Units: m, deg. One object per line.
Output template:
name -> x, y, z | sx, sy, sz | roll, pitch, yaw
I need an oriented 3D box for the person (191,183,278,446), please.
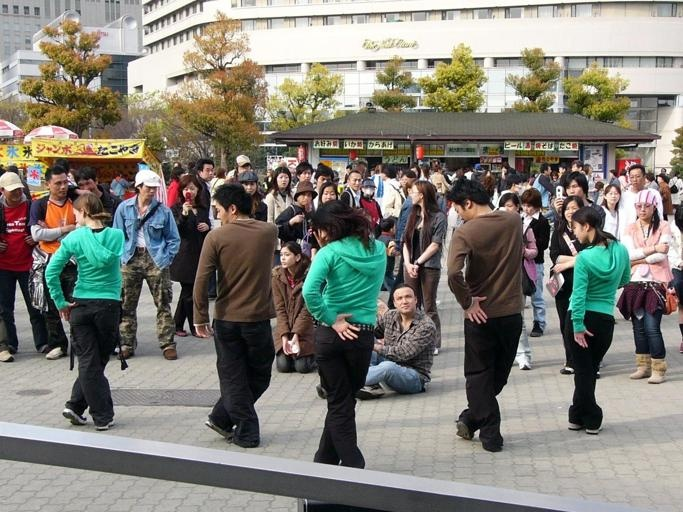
person -> -0.925, 0.516, 6.816 | 0.717, 2.299, 0.428 | -1, 6, -5

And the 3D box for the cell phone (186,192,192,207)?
cell phone -> -2.162, -0.830, 10.979 | 0.090, 0.171, 0.042 | 10, 29, 8

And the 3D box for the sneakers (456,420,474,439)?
sneakers -> 1.096, 1.572, 6.962 | 0.109, 0.211, 0.090 | -7, 32, 45

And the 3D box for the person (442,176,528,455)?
person -> 1.215, 0.652, 6.708 | 0.689, 2.080, 0.386 | -1, 6, -9

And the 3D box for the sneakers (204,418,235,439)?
sneakers -> -1.072, 1.534, 6.924 | 0.105, 0.249, 0.086 | -39, 31, 11

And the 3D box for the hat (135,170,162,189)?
hat -> -2.424, -0.963, 9.727 | 0.306, 0.168, 0.235 | -1, 1, 22

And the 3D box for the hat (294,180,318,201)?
hat -> -0.516, -0.928, 10.977 | 0.299, 0.265, 0.436 | 0, 7, -1

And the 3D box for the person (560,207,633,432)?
person -> 2.357, 0.606, 7.210 | 0.511, 2.070, 0.688 | 3, 7, 26

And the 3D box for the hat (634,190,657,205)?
hat -> 3.562, -0.684, 8.976 | 0.325, 0.173, 0.173 | -4, 8, -29

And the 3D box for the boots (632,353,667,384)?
boots -> 3.522, 1.282, 8.859 | 0.268, 0.294, 0.374 | 12, 16, 43

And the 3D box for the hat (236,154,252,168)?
hat -> -1.535, -1.523, 12.400 | 0.186, 0.169, 0.277 | -3, -6, -20

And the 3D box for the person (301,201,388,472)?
person -> 0.028, 0.623, 5.954 | 0.586, 2.078, 0.613 | 0, 6, 4

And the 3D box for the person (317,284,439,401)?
person -> 0.610, 0.930, 9.016 | 1.393, 1.438, 0.932 | 4, 3, -36

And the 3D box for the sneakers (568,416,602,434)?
sneakers -> 2.277, 1.578, 7.249 | 0.287, 0.129, 0.117 | -4, 14, 9

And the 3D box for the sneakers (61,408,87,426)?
sneakers -> -2.520, 1.495, 7.339 | 0.209, 0.196, 0.255 | -2, 7, -19

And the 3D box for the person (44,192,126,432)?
person -> -2.374, 0.499, 7.338 | 0.696, 2.165, 0.725 | -4, 7, -32
